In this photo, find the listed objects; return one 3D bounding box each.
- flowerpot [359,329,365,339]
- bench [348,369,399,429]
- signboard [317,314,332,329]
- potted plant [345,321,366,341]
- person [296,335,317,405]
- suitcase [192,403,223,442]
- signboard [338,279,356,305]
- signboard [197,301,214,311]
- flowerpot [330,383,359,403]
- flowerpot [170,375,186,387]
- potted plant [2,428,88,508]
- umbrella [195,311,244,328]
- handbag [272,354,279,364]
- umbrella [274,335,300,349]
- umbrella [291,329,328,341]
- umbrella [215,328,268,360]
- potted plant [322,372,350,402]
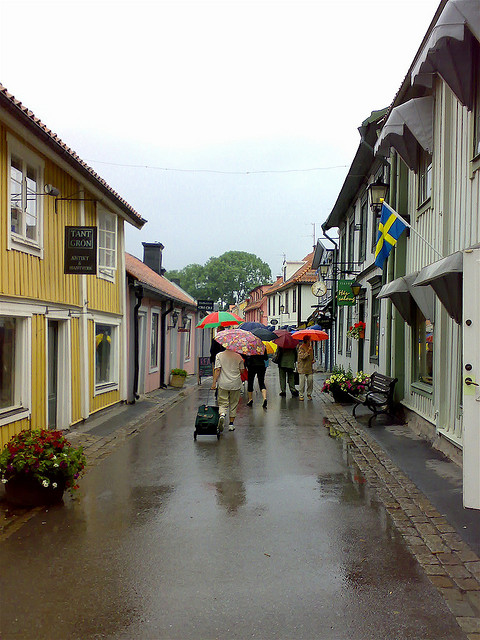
[{"bbox_3d":[3.684,0.408,16.115,0.133,0.327,0.154,0,-5,2],"label":"flowerpot"},{"bbox_3d":[2.723,1.607,11.028,0.550,1.021,1.696,1,-2,3],"label":"bench"},{"bbox_3d":[3.607,0.079,22.467,0.441,0.553,0.514,0,1,0],"label":"signboard"},{"bbox_3d":[3.525,0.331,16.275,0.468,0.434,0.534,-14,-2,-1],"label":"potted plant"},{"bbox_3d":[1.857,1.342,15.070,0.456,1.819,1.697,0,-2,6],"label":"person"},{"bbox_3d":[-0.553,1.762,9.323,0.514,0.533,0.725,0,-2,-3],"label":"suitcase"},{"bbox_3d":[3.286,-0.857,16.490,0.573,1.062,0.072,1,7,1],"label":"signboard"},{"bbox_3d":[-1.563,-0.662,24.291,0.603,0.511,0.384,0,-11,3],"label":"signboard"},{"bbox_3d":[2.544,1.893,13.684,0.453,0.467,0.554,2,-7,-3],"label":"flowerpot"},{"bbox_3d":[-2.140,2.033,18.340,0.347,0.348,0.403,3,2,-5],"label":"flowerpot"},{"bbox_3d":[-1.970,1.428,5.433,0.634,0.737,0.693,3,-2,-2],"label":"potted plant"},{"bbox_3d":[-0.551,-0.035,14.631,1.007,0.477,1.877,-1,-3,9],"label":"umbrella"},{"bbox_3d":[1.067,1.115,15.623,0.145,0.244,0.480,0,-3,4],"label":"handbag"},{"bbox_3d":[1.299,0.615,15.115,0.631,0.386,0.584,-1,-3,13],"label":"umbrella"},{"bbox_3d":[1.958,0.409,14.964,0.666,0.335,1.326,-2,-3,35],"label":"umbrella"},{"bbox_3d":[-0.009,0.342,9.545,0.620,0.238,0.615,41,9,36],"label":"umbrella"},{"bbox_3d":[2.466,1.717,13.763,0.546,0.783,0.655,-2,-2,26],"label":"potted plant"}]
